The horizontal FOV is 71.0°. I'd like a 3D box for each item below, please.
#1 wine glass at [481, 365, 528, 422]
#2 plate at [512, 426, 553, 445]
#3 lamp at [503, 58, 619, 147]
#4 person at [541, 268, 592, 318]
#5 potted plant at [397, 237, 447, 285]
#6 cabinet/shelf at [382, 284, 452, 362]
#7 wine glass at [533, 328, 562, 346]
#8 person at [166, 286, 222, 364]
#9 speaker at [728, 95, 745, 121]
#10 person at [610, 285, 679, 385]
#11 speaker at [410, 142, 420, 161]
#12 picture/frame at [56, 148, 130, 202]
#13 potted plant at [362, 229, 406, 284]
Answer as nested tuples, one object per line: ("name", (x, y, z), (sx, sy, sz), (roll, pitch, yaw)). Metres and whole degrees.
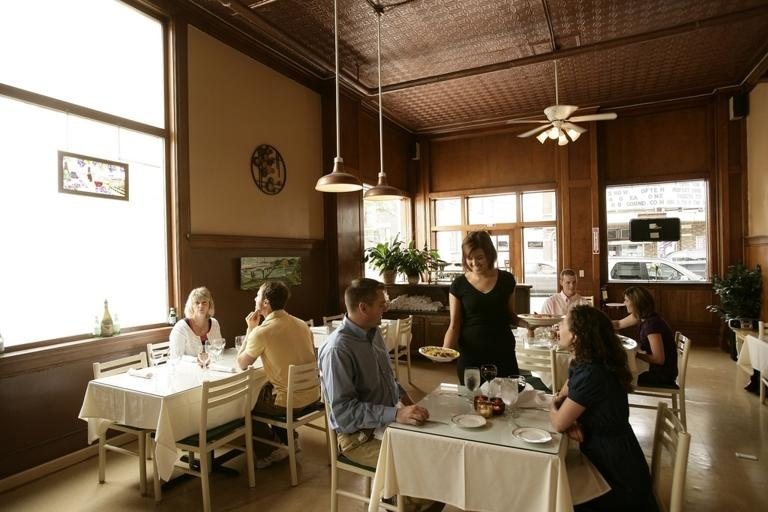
("wine glass", (0.968, 1.133, 4.459), (0.380, 0.282, 0.308), (-1, 0, -32))
("plate", (1.159, 1.399, 4.182), (0.295, 0.076, 0.179), (-1, 2, 18))
("lamp", (2.432, -2.240, 7.349), (1.217, 1.170, 1.049), (-9, 11, -27))
("person", (2.566, 0.565, 7.520), (0.703, 0.679, 0.348), (2, 5, 3))
("potted plant", (0.696, 0.117, 9.543), (0.746, 0.564, 0.782), (0, -1, 21))
("cabinet/shelf", (0.639, 1.106, 9.190), (1.116, 1.094, 0.417), (3, 9, -22))
("wine glass", (1.906, 0.960, 6.294), (0.218, 0.212, 0.223), (-2, 1, -15))
("person", (-2.091, 0.820, 6.159), (0.590, 0.861, 0.556), (-4, 3, -43))
("speaker", (5.863, -2.441, 8.901), (0.270, 0.380, 0.187), (0, 3, 34))
("person", (3.017, 1.070, 6.299), (0.796, 1.330, 0.616), (-3, 6, 31))
("speaker", (0.666, -2.135, 11.206), (0.204, 0.353, 0.200), (-1, 2, 17))
("picture/frame", (-3.318, -0.893, 6.103), (0.022, 0.453, 0.643), (-3, -4, 32))
("potted plant", (0.057, 0.036, 9.514), (0.748, 0.522, 0.719), (-4, -1, -23))
